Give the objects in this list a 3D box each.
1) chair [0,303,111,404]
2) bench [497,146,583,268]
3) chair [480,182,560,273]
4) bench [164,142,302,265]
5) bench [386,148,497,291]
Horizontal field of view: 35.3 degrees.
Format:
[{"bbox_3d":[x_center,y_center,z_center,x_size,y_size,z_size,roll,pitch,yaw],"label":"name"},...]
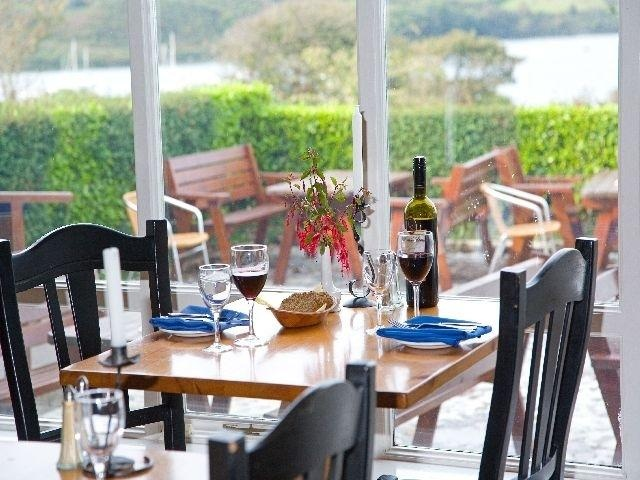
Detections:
[{"bbox_3d":[-1.119,0.455,4.246,0.336,0.298,0.513,-6,3,-41],"label":"chair"},{"bbox_3d":[0.804,-0.130,3.677,0.276,0.463,0.302,1,11,20],"label":"bench"},{"bbox_3d":[0.744,-0.067,3.707,0.217,0.397,0.261,-1,9,14],"label":"chair"},{"bbox_3d":[-0.297,-0.123,3.934,0.346,0.484,0.515,0,10,39],"label":"bench"},{"bbox_3d":[0.539,-0.142,3.981,0.388,0.701,0.436,4,11,25],"label":"bench"}]
